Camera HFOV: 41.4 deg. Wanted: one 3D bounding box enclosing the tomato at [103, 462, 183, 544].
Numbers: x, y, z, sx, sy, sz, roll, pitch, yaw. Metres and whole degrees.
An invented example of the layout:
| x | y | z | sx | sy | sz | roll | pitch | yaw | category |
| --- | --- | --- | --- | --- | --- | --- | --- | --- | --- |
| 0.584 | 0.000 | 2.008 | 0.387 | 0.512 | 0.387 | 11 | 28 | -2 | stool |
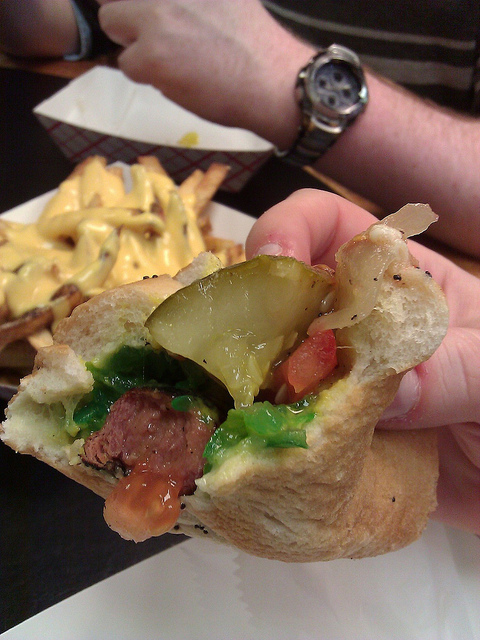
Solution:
| x | y | z | sx | sy | sz | roll | pitch | yaw | category |
| --- | --- | --- | --- | --- | --- | --- | --- | --- | --- |
| -0.213 | 0.397 | 1.368 | 0.201 | 0.070 | 0.138 | 25 | 81 | 9 | tomato |

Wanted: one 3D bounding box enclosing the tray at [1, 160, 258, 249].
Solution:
| x | y | z | sx | sy | sz | roll | pitch | yaw | category |
| --- | --- | --- | --- | --- | --- | --- | --- | --- | --- |
| -0.300 | -0.470 | 2.811 | 0.700 | 0.167 | 0.686 | 32 | 38 | 16 | tray |

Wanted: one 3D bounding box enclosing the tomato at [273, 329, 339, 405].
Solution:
| x | y | z | sx | sy | sz | roll | pitch | yaw | category |
| --- | --- | --- | --- | --- | --- | --- | --- | --- | --- |
| 0.156 | 0.102 | 1.395 | 0.115 | 0.061 | 0.163 | 32 | 92 | 9 | tomato |

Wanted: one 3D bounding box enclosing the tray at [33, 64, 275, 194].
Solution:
| x | y | z | sx | sy | sz | roll | pitch | yaw | category |
| --- | --- | --- | --- | --- | --- | --- | --- | --- | --- |
| -0.383 | -0.855 | 2.961 | 0.822 | 0.261 | 0.576 | 24 | 40 | -1 | tray |
